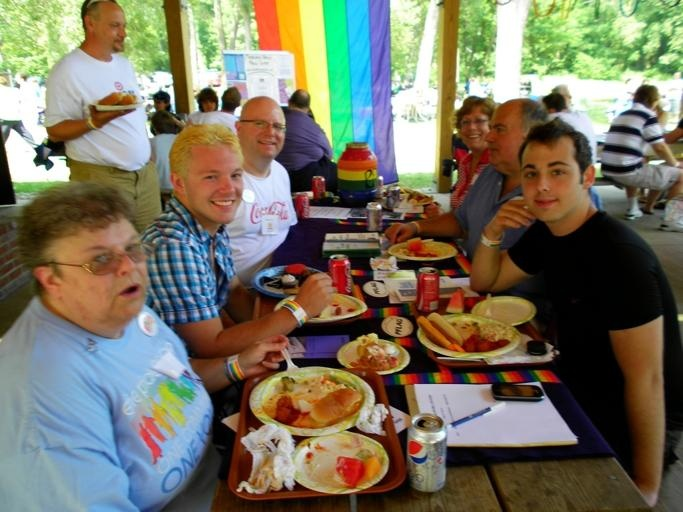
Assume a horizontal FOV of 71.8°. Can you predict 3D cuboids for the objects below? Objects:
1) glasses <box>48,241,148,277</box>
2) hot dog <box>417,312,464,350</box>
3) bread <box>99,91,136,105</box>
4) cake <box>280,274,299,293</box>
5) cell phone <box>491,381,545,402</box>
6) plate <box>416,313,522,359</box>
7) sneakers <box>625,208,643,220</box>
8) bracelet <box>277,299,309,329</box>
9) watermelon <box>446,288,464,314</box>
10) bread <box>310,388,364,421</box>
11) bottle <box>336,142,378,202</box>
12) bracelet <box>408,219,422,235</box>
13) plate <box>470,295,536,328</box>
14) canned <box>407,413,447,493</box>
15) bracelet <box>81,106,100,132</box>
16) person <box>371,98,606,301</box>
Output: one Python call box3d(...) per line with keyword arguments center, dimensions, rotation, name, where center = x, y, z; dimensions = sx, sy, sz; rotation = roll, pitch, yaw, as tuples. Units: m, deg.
box3d(center=(-0.745, -0.002, 1.443), dimensions=(0.158, 0.037, 0.135), rotation=(-8, 3, 12), name="glasses")
box3d(center=(0.417, 0.324, 1.913), dimensions=(0.106, 0.050, 0.190), rotation=(-28, 26, -13), name="hot dog")
box3d(center=(-1.758, -1.231, 3.705), dimensions=(0.202, 0.051, 0.171), rotation=(-6, 22, -22), name="bread")
box3d(center=(-0.264, 0.137, 2.395), dimensions=(0.101, 0.020, 0.088), rotation=(-19, 41, -33), name="cake")
box3d(center=(0.608, 0.463, 1.638), dimensions=(0.140, 0.018, 0.068), rotation=(0, 17, 5), name="cell phone")
box3d(center=(0.548, 0.336, 1.917), dimensions=(0.396, 0.047, 0.354), rotation=(-9, 31, 36), name="plate")
box3d(center=(3.987, -0.573, 6.366), dimensions=(0.334, 0.135, 0.120), rotation=(-18, 21, -28), name="sneakers")
box3d(center=(-0.193, 0.236, 2.002), dimensions=(0.127, 0.115, 0.058), rotation=(22, 70, 44), name="bracelet")
box3d(center=(0.529, 0.214, 2.203), dimensions=(0.098, 0.057, 0.098), rotation=(12, 46, 13), name="watermelon")
box3d(center=(-0.013, 0.492, 1.572), dimensions=(0.140, 0.027, 0.085), rotation=(-13, 22, -28), name="bread")
box3d(center=(0.152, -0.715, 4.015), dimensions=(0.373, 0.439, 0.374), rotation=(18, 29, 37), name="bottle")
box3d(center=(0.515, -0.204, 3.280), dimensions=(0.104, 0.089, 0.081), rotation=(-9, 52, 15), name="bracelet")
box3d(center=(0.740, 0.254, 2.179), dimensions=(0.205, 0.022, 0.169), rotation=(-6, 22, -12), name="plate")
box3d(center=(0.244, 0.561, 1.343), dimensions=(0.114, 0.212, 0.103), rotation=(8, 24, 21), name="canned")
box3d(center=(-1.974, -1.069, 3.704), dimensions=(0.086, 0.194, 0.158), rotation=(-3, 24, 10), name="bracelet")
box3d(center=(0.984, -0.455, 3.029), dimensions=(1.575, 0.980, 0.896), rotation=(-7, 17, -13), name="person")
